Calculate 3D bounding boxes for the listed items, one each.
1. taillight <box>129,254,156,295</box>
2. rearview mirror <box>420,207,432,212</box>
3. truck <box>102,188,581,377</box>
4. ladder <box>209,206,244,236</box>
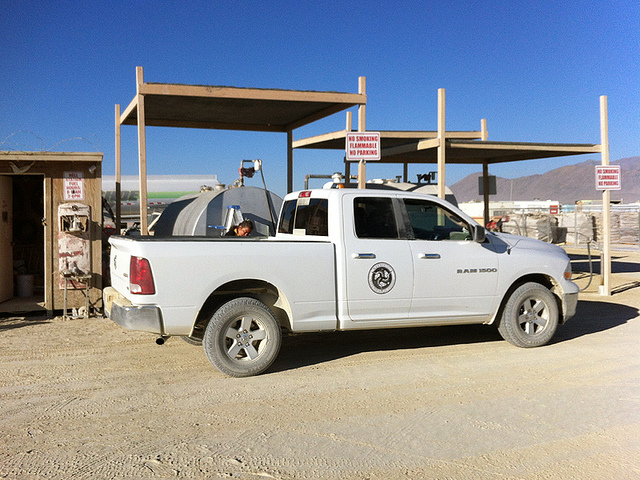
[{"bbox_3d":[-2.187,0.413,6.148,0.330,0.490,0.332,0,0,-1],"label":"taillight"},{"bbox_3d":[1.566,-0.459,7.358,0.139,0.047,0.074,-2,5,-22],"label":"rearview mirror"},{"bbox_3d":[0.624,0.444,8.037,7.126,2.383,2.430,-1,-1,-19],"label":"truck"},{"bbox_3d":[-2.033,-0.487,11.403,0.488,0.458,0.501,-23,31,-16],"label":"ladder"}]
